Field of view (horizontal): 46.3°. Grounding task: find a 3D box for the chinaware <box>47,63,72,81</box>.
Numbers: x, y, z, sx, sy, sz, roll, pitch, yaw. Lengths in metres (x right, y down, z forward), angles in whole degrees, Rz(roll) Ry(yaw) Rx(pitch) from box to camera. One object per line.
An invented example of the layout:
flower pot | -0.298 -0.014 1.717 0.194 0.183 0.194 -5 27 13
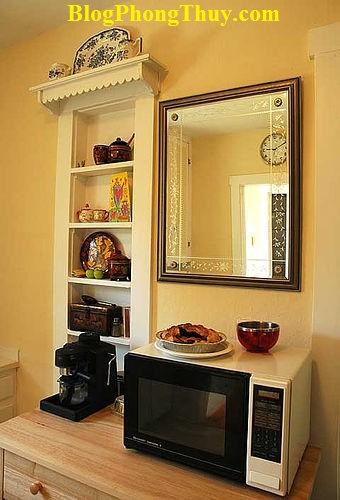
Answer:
chinaware | -0.500 -0.802 1.831 0.084 0.056 0.107 8 16 32

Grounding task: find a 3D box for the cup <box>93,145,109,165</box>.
cup | -0.305 -0.424 1.810 0.076 0.086 0.075 0 -4 0

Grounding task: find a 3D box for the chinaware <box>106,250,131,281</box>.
chinaware | -0.218 0.068 1.744 0.104 0.125 0.102 0 -4 9

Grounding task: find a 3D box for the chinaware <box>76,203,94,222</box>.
chinaware | -0.396 -0.175 1.828 0.063 0.091 0.089 3 -2 -43

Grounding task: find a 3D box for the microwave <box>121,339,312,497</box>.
microwave | 0.110 0.412 0.996 0.434 0.280 0.316 -1 0 29

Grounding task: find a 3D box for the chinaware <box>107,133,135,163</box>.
chinaware | -0.215 -0.430 1.706 0.092 0.120 0.138 -2 2 -43

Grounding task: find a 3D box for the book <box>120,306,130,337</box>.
book | -0.193 0.306 1.698 0.041 0.109 0.112 0 -4 6

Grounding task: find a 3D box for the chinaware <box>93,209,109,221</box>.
chinaware | -0.311 -0.158 1.790 0.058 0.044 0.044 1 0 19

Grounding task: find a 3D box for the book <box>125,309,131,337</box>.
book | -0.176 0.303 1.663 0.014 0.124 0.070 2 -1 -20

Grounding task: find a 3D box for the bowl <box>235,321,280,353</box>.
bowl | 0.265 0.265 1.200 0.150 0.094 0.151 3 -12 1

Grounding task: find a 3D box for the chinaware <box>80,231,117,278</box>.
chinaware | -0.336 0.012 1.861 0.158 0.213 0.077 2 3 30
